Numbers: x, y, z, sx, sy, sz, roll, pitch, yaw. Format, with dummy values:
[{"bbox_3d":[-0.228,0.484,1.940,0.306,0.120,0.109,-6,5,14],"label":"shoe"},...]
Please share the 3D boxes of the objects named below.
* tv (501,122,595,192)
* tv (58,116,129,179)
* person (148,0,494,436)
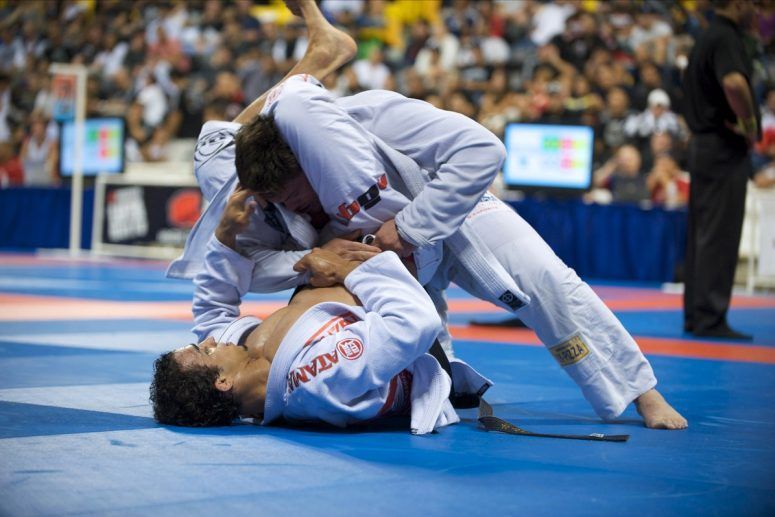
[{"bbox_3d":[1.531,-0.982,9.086,0.911,0.630,0.114,4,11,16],"label":"tv"},{"bbox_3d":[-3.541,-1.298,11.327,0.627,0.757,1.913,-1,11,-13],"label":"tv"},{"bbox_3d":[-0.452,0.250,5.421,1.719,1.365,0.786,3,12,5],"label":"person"}]
